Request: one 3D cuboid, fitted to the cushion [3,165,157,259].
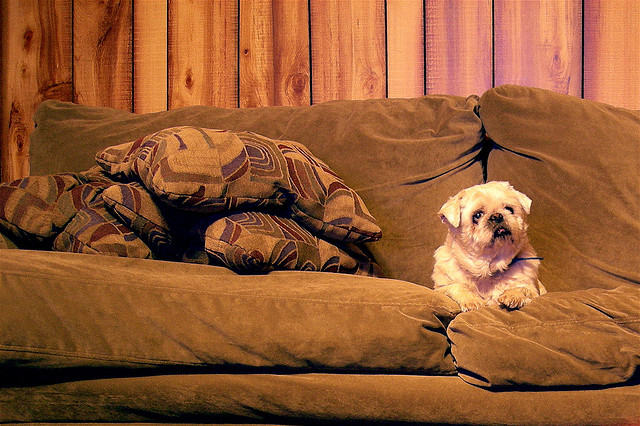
[{"bbox_3d":[-1.527,0.004,7.479,0.638,0.199,0.647,2,50,-11],"label":"cushion"}]

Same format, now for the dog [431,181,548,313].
[{"bbox_3d":[1.111,0.179,7.884,0.774,0.818,0.813,-2,0,26],"label":"dog"}]

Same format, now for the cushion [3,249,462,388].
[{"bbox_3d":[-0.588,0.699,7.174,2.511,0.749,0.227,4,7,-4],"label":"cushion"}]
